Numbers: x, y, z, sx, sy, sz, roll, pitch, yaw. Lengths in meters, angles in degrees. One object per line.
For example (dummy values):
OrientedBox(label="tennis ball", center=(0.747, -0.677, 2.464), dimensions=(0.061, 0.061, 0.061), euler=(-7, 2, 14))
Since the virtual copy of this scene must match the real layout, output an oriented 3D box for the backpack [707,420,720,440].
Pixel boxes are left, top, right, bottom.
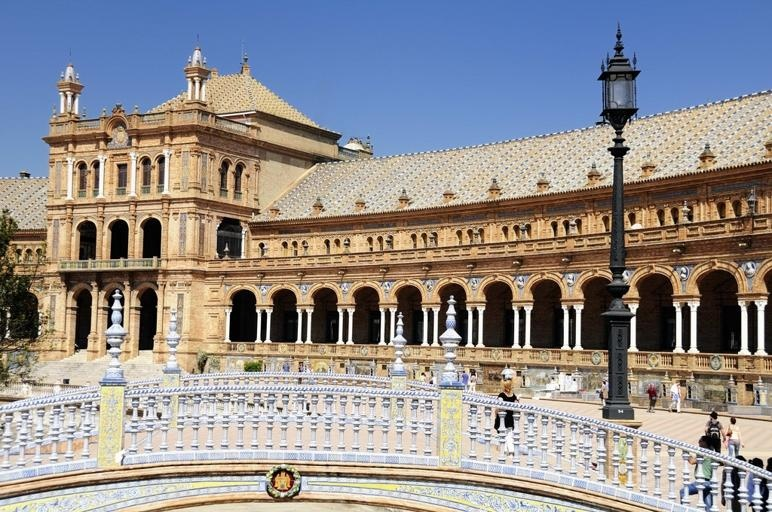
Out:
OrientedBox(label="backpack", center=(11.733, 6.248, 54.592), dimensions=(0.558, 0.694, 0.402), euler=(3, -21, 0))
